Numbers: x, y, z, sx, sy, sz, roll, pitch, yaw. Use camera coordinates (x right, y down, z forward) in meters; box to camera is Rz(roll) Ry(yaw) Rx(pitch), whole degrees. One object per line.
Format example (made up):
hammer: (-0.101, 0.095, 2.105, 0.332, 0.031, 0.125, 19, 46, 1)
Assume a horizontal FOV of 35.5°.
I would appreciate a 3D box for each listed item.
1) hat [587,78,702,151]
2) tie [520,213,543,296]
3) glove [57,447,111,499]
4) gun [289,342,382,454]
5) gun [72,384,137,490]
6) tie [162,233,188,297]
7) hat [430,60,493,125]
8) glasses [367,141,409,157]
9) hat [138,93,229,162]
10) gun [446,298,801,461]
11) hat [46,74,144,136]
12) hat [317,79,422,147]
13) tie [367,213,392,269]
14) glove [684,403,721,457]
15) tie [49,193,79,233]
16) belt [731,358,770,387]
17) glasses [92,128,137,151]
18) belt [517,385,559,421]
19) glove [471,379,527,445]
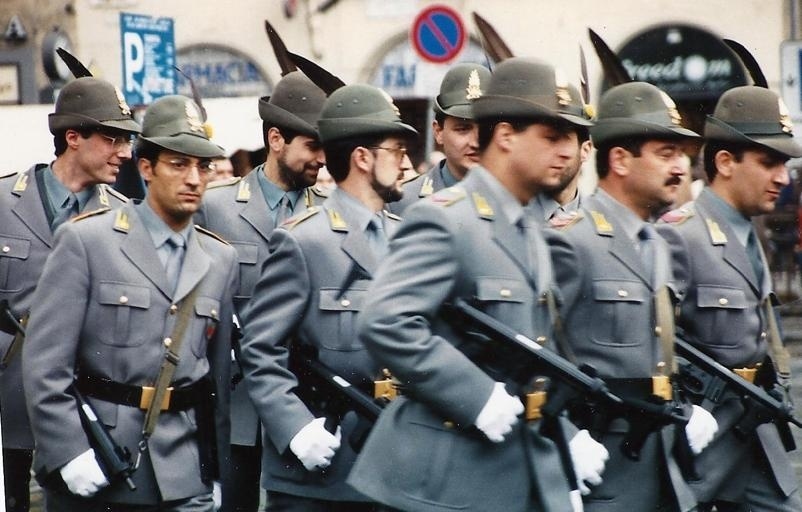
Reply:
hat: (1.672, -0.936, 8.525, 0.631, 0.259, 0.520, 2, 1, 31)
tie: (0.795, -0.018, 7.471, 0.123, 0.470, 0.139, 0, 3, -9)
glove: (-1.972, 1.367, 7.895, 0.289, 0.278, 0.104, -34, -1, -2)
gun: (-0.449, 0.993, 8.110, 0.146, 0.369, 0.681, 19, 4, 14)
gun: (-1.864, 1.171, 7.930, 0.136, 0.633, 0.262, -29, -8, -23)
tie: (-1.470, 0.041, 8.294, 0.153, 0.411, 0.216, 0, 3, -9)
hat: (0.485, -1.272, 9.744, 0.408, 0.286, 0.548, 2, -3, -20)
glasses: (-0.059, -0.698, 8.259, 0.270, 0.089, 0.073, -2, 4, -34)
hat: (-1.436, -0.875, 8.374, 0.515, 0.277, 0.436, -4, -10, 43)
gun: (1.346, 0.790, 7.933, 2.043, 0.708, 0.271, 29, -1, -5)
hat: (-2.223, -1.109, 9.212, 0.588, 0.293, 0.404, -5, -1, 9)
hat: (-0.229, -0.932, 8.248, 0.555, 0.264, 0.391, -2, 3, 6)
tie: (-0.128, -0.120, 8.355, 0.262, 0.320, 0.098, 0, 0, -28)
glove: (2.022, 1.175, 8.448, 0.251, 0.332, 0.100, 39, -13, -16)
tie: (-2.432, -0.318, 9.145, 0.220, 0.272, 0.098, 0, 3, -15)
belt: (2.464, 0.814, 8.778, 0.204, 0.142, 0.206, 1, 2, 29)
glasses: (-2.049, -0.848, 9.121, 0.204, 0.059, 0.198, 19, 8, 32)
belt: (0.812, 0.859, 7.390, 0.216, 0.173, 0.074, -3, 13, -14)
glove: (0.580, 0.904, 7.216, 0.326, 0.318, 0.116, 38, -8, -12)
